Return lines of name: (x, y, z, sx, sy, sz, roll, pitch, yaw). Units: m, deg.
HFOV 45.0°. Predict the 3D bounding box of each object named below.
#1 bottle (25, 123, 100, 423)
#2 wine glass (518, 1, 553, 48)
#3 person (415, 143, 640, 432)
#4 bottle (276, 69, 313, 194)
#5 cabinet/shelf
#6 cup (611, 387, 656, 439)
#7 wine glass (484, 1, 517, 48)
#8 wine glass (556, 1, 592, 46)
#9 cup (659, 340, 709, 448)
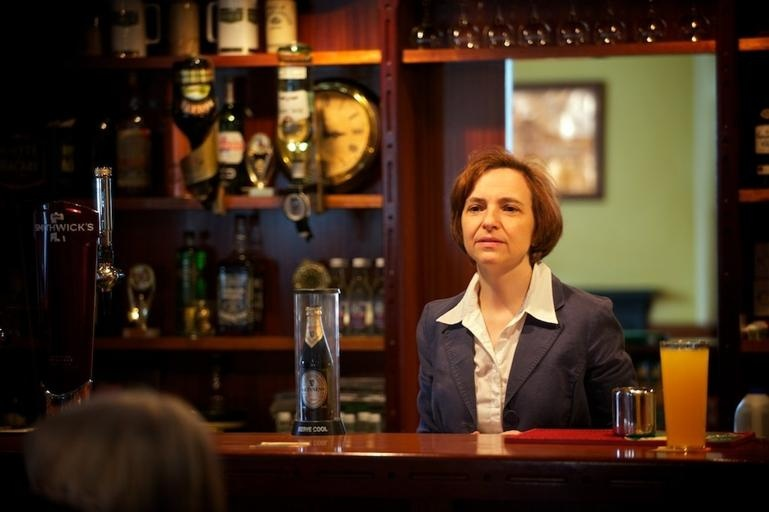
bottle: (-0.901, 0.142, 2.658, 0.187, 0.626, 0.190, 3, 5, 0)
wine glass: (0.585, -0.880, 3.559, 0.119, 0.220, 0.265, 0, -2, 10)
person: (0.428, 0.110, 2.879, 0.677, 0.873, 0.270, 0, -2, 11)
bottle: (-0.332, -0.478, 3.469, 0.127, 0.450, 0.107, 1, -2, -2)
cabinet/shelf: (-0.623, -0.166, 3.403, 1.755, 1.554, 0.493, -1, -4, 2)
cup: (0.665, 0.417, 2.461, 0.107, 0.131, 0.056, 0, -2, 10)
wine glass: (0.449, -0.883, 3.582, 0.119, 0.226, 0.274, 0, -2, 7)
wine glass: (0.728, -0.886, 3.534, 0.116, 0.229, 0.235, 0, -2, 12)
cup: (0.789, 0.357, 2.422, 0.140, 0.281, 0.123, 0, -2, 2)
